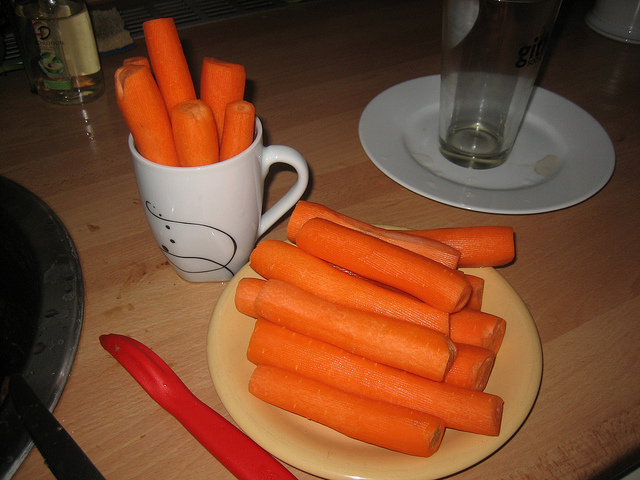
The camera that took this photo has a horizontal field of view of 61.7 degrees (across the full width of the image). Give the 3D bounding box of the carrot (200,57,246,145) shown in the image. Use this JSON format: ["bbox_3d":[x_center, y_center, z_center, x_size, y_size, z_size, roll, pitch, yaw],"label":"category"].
[{"bbox_3d":[-0.141,-0.205,0.774,0.063,0.136,0.052,-8,52,-19],"label":"carrot"}]

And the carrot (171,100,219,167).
[{"bbox_3d":[-0.166,-0.140,0.711,0.055,0.071,0.064,-6,52,-2],"label":"carrot"}]

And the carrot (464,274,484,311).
[{"bbox_3d":[0.219,0.074,0.749,0.044,0.018,0.044,5,90,15],"label":"carrot"}]

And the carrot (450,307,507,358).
[{"bbox_3d":[0.217,0.126,0.747,0.074,0.067,0.062,14,12,3],"label":"carrot"}]

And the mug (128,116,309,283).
[{"bbox_3d":[-0.144,-0.060,0.813,0.246,0.229,0.192,1,35,2],"label":"mug"}]

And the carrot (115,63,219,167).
[{"bbox_3d":[-0.202,-0.166,0.710,0.106,0.175,0.064,9,66,-2],"label":"carrot"}]

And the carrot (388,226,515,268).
[{"bbox_3d":[0.187,0.012,0.845,0.225,0.061,0.071,0,87,4],"label":"carrot"}]

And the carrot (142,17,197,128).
[{"bbox_3d":[-0.216,-0.232,0.791,0.052,0.188,0.053,-7,7,36],"label":"carrot"}]
